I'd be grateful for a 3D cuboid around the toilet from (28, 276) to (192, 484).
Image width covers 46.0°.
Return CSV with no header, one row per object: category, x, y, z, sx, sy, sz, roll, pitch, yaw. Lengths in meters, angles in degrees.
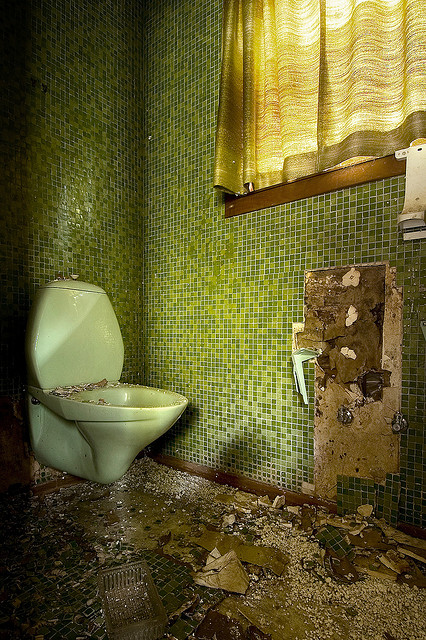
toilet,-0.357,0.216,1.729,0.644,0.692,0.391,3,3,42
